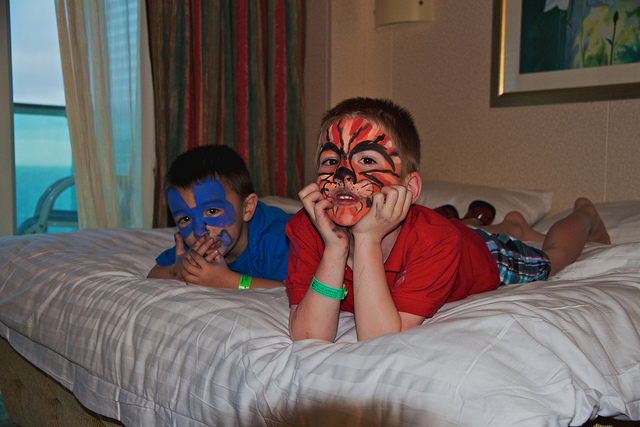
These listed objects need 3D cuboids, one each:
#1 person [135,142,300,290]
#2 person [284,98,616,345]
[{"bbox_3d":[-0.373,0.025,1.966,0.435,0.354,0.715,-2,-1,18],"label":"person"},{"bbox_3d":[0.504,0.014,1.951,1.460,0.770,0.652,-3,-1,-38],"label":"person"}]
